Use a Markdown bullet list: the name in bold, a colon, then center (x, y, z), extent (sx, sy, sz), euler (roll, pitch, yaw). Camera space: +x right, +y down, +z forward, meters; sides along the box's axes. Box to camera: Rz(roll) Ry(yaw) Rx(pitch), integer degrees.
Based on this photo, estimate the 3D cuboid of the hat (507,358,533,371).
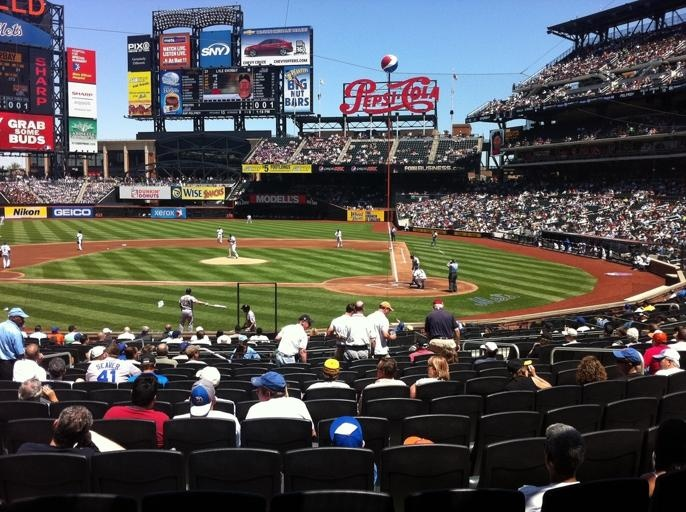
- **hat**: center (3.153, 1.983, 13.244), extent (0.385, 0.105, 0.226), euler (-10, 8, -21)
